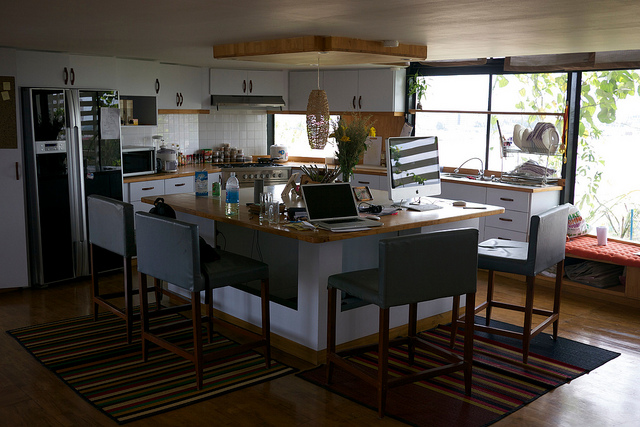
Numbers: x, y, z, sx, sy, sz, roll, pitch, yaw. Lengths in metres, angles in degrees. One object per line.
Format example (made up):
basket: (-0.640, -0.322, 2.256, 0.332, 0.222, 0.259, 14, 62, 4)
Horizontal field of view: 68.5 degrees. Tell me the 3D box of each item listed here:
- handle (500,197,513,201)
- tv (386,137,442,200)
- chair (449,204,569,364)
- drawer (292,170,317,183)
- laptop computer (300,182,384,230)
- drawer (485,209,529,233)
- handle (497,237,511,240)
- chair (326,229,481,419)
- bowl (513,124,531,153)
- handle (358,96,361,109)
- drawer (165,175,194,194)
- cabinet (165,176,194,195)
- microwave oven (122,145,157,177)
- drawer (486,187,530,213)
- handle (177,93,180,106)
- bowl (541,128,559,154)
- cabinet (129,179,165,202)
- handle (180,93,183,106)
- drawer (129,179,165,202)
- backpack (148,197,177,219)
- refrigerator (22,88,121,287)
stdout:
handle: (2.516, -0.182, 6.347, 0.141, 0.031, 0.023, 8, 27, 37)
tv: (1.031, -0.486, 5.010, 0.082, 0.663, 0.795, -5, 4, -30)
chair: (1.884, 0.615, 4.754, 1.025, 1.314, 0.990, 2, 8, 30)
drawer: (-0.186, -0.423, 5.492, 0.267, 0.229, 0.175, -2, 19, -18)
laptop computer: (0.163, -0.066, 4.350, 0.562, 0.304, 0.530, -7, 12, -33)
drawer: (2.548, 0.098, 6.342, 0.410, 0.228, 0.397, -5, 10, -34)
handle: (2.394, 0.329, 6.093, 0.088, 0.020, 0.082, 6, 10, 37)
chair: (0.648, 0.833, 3.935, 1.025, 1.251, 1.123, 3, 3, 44)
bowl: (2.777, -1.073, 6.594, 0.350, 0.316, 0.087, 1, 14, -18)
handle: (0.639, -1.813, 7.751, 0.051, 0.190, 0.027, 5, 16, 24)
drawer: (-2.080, -0.414, 6.989, 0.165, 0.249, 0.500, 9, 17, 37)
cabinet: (-2.122, -0.423, 7.010, 0.249, 0.246, 0.442, 8, 12, 41)
microwave oven: (-2.603, -0.744, 6.699, 0.473, 0.281, 0.448, 12, 15, 43)
drawer: (2.556, -0.180, 6.329, 0.373, 0.207, 0.367, -6, 11, -37)
handle: (-2.264, -1.780, 7.431, 0.046, 0.141, 0.060, 1, 1, -41)
bowl: (3.062, -0.960, 6.255, 0.112, 0.291, 0.262, -2, -23, 38)
cabinet: (-2.488, -0.348, 6.673, 0.467, 0.382, 0.316, -11, 16, -43)
handle: (-2.220, -1.814, 7.458, 0.047, 0.155, 0.032, -2, 14, -39)
drawer: (-2.488, -0.344, 6.672, 0.282, 0.260, 0.468, 9, 14, 44)
backpack: (-1.549, -0.053, 4.590, 0.222, 0.285, 0.159, -7, -1, -40)
refrigerator: (-3.177, -0.334, 5.990, 1.266, 2.387, 0.413, -10, 16, -29)
